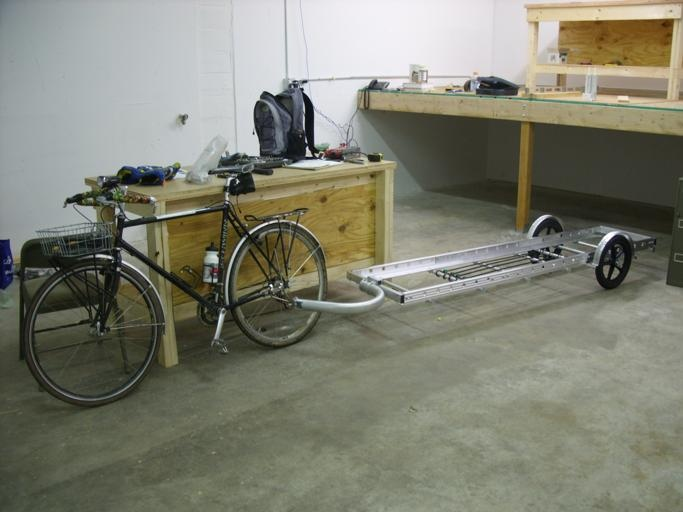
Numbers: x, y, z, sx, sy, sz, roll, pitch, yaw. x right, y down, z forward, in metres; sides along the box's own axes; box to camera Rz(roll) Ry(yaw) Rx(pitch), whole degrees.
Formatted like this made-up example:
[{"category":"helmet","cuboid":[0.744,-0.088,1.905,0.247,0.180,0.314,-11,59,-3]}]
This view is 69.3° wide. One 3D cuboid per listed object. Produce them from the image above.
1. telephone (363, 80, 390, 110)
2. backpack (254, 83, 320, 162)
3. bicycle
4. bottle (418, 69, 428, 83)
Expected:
[{"category":"telephone","cuboid":[0.494,-2.310,7.024,0.424,0.378,0.219,-16,25,-37]},{"category":"backpack","cuboid":[-0.420,-1.004,3.743,0.457,0.507,0.462,0,15,9]},{"category":"bicycle","cuboid":[-0.933,0.120,3.081,1.963,1.066,0.834,-12,11,-41]},{"category":"bottle","cuboid":[1.110,-2.515,6.796,0.107,0.180,0.106,-3,17,1]}]
